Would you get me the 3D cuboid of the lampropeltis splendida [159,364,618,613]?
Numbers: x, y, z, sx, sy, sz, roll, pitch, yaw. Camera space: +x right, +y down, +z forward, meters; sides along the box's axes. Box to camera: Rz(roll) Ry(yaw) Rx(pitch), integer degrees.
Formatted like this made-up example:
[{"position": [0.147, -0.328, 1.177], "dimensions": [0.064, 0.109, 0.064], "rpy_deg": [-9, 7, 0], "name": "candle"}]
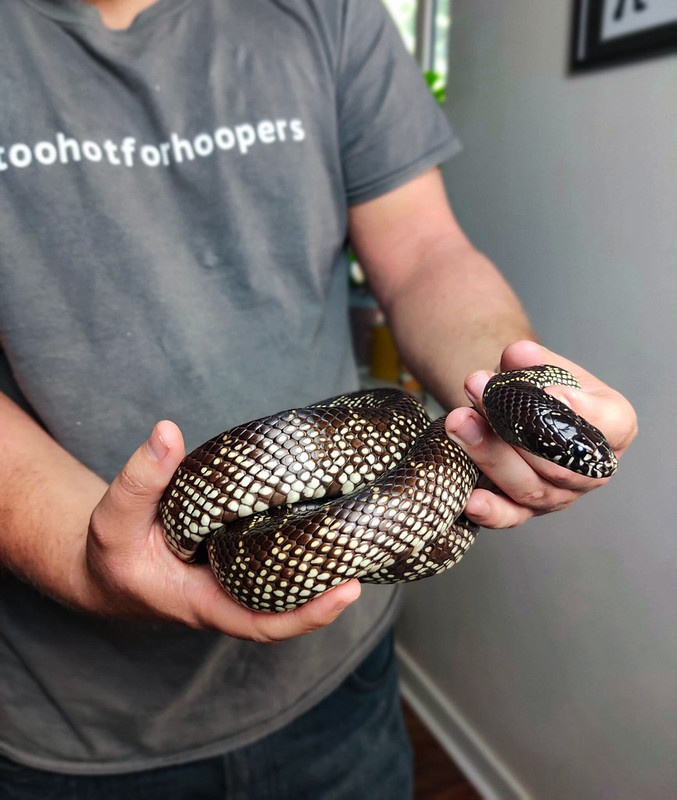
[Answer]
[{"position": [0.138, 0.221, 1.558], "dimensions": [0.844, 0.249, 0.423], "rpy_deg": [-11, 43, -5], "name": "lampropeltis splendida"}]
